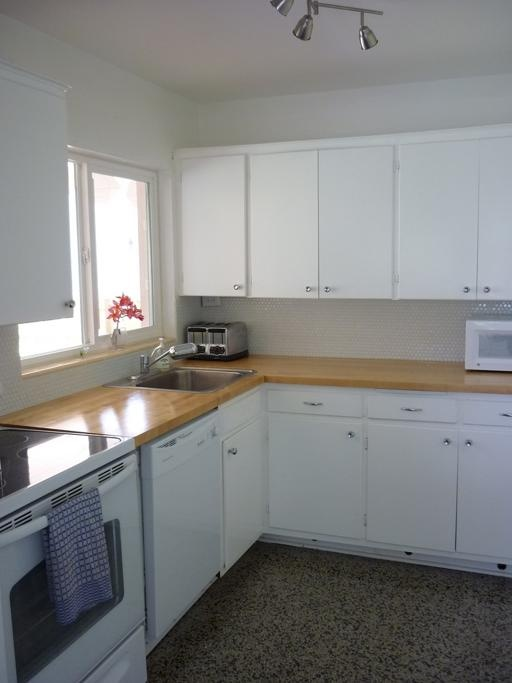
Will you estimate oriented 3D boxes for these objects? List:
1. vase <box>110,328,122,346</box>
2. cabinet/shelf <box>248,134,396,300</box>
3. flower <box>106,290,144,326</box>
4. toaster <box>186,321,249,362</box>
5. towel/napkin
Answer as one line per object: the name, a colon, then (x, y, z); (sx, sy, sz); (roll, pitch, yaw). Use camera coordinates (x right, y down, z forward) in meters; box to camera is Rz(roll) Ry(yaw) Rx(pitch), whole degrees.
vase: (-0.712, -0.023, 2.695); (0.032, 0.096, 0.113); (0, 4, 4)
cabinet/shelf: (0.367, -0.667, 2.783); (0.867, 0.865, 0.314); (1, 4, 15)
flower: (-0.661, -0.174, 2.713); (0.161, 0.173, 0.172); (5, 9, 14)
toaster: (-0.231, -0.007, 3.195); (0.306, 0.215, 0.367); (0, 4, 12)
towel/napkin: (-0.426, 0.530, 1.284); (0.063, 0.292, 0.207); (0, 4, 14)
